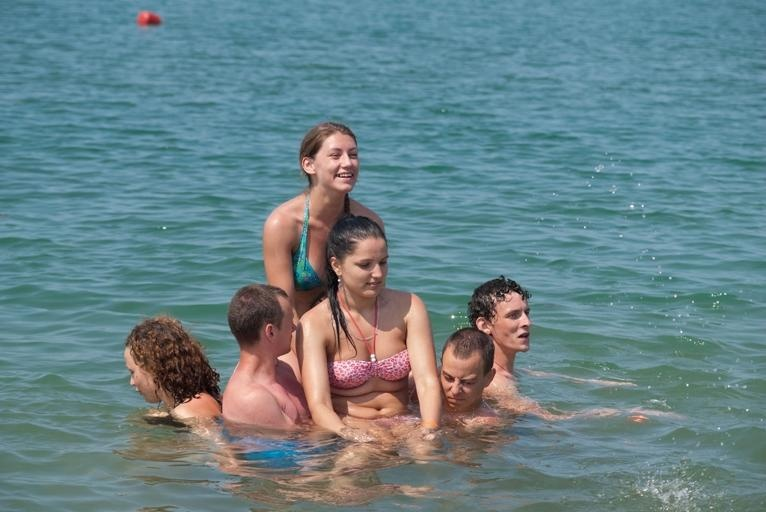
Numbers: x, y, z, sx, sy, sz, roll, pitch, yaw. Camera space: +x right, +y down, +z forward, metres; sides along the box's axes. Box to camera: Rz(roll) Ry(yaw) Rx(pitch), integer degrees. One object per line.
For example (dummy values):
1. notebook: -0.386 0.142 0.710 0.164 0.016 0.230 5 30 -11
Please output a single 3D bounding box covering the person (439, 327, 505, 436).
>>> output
1. person: 1.515 2.126 23.128 1.011 1.662 0.717 -3 18 -3
